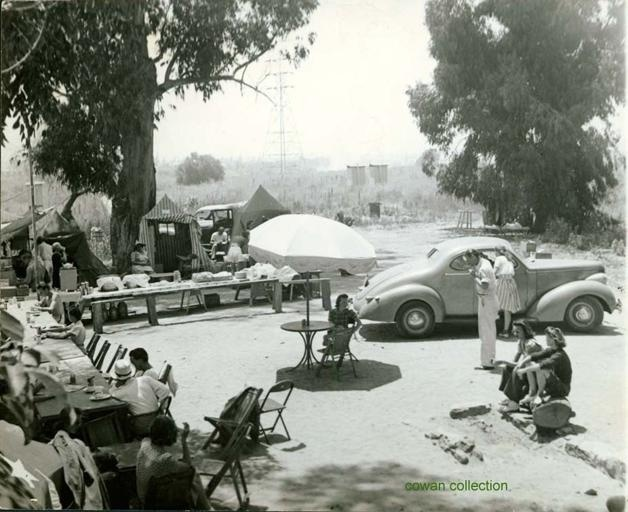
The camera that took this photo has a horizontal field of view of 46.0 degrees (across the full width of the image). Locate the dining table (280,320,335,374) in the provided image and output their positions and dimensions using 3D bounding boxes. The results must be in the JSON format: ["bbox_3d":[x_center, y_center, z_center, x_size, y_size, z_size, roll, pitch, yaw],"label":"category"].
[{"bbox_3d":[-0.099,1.702,13.953,0.782,0.757,0.851,-2,1,-18],"label":"dining table"}]

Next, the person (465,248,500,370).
[{"bbox_3d":[3.135,1.034,13.758,0.522,2.274,0.489,1,12,13],"label":"person"}]

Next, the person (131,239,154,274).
[{"bbox_3d":[-4.824,0.091,20.810,0.582,0.903,0.731,-5,12,-16],"label":"person"}]

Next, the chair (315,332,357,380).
[{"bbox_3d":[0.411,1.725,13.576,0.628,0.966,0.724,2,13,17],"label":"chair"}]

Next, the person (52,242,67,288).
[{"bbox_3d":[-7.229,0.261,21.107,0.418,1.203,1.361,-5,13,-18],"label":"person"}]

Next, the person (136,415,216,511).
[{"bbox_3d":[-1.770,2.689,9.430,0.788,1.295,0.726,-15,23,-40],"label":"person"}]

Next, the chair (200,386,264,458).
[{"bbox_3d":[-1.119,2.317,10.713,0.449,0.709,0.870,2,2,35],"label":"chair"}]

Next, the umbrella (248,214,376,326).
[{"bbox_3d":[-0.025,0.289,13.796,1.400,1.146,1.591,4,11,-26],"label":"umbrella"}]
